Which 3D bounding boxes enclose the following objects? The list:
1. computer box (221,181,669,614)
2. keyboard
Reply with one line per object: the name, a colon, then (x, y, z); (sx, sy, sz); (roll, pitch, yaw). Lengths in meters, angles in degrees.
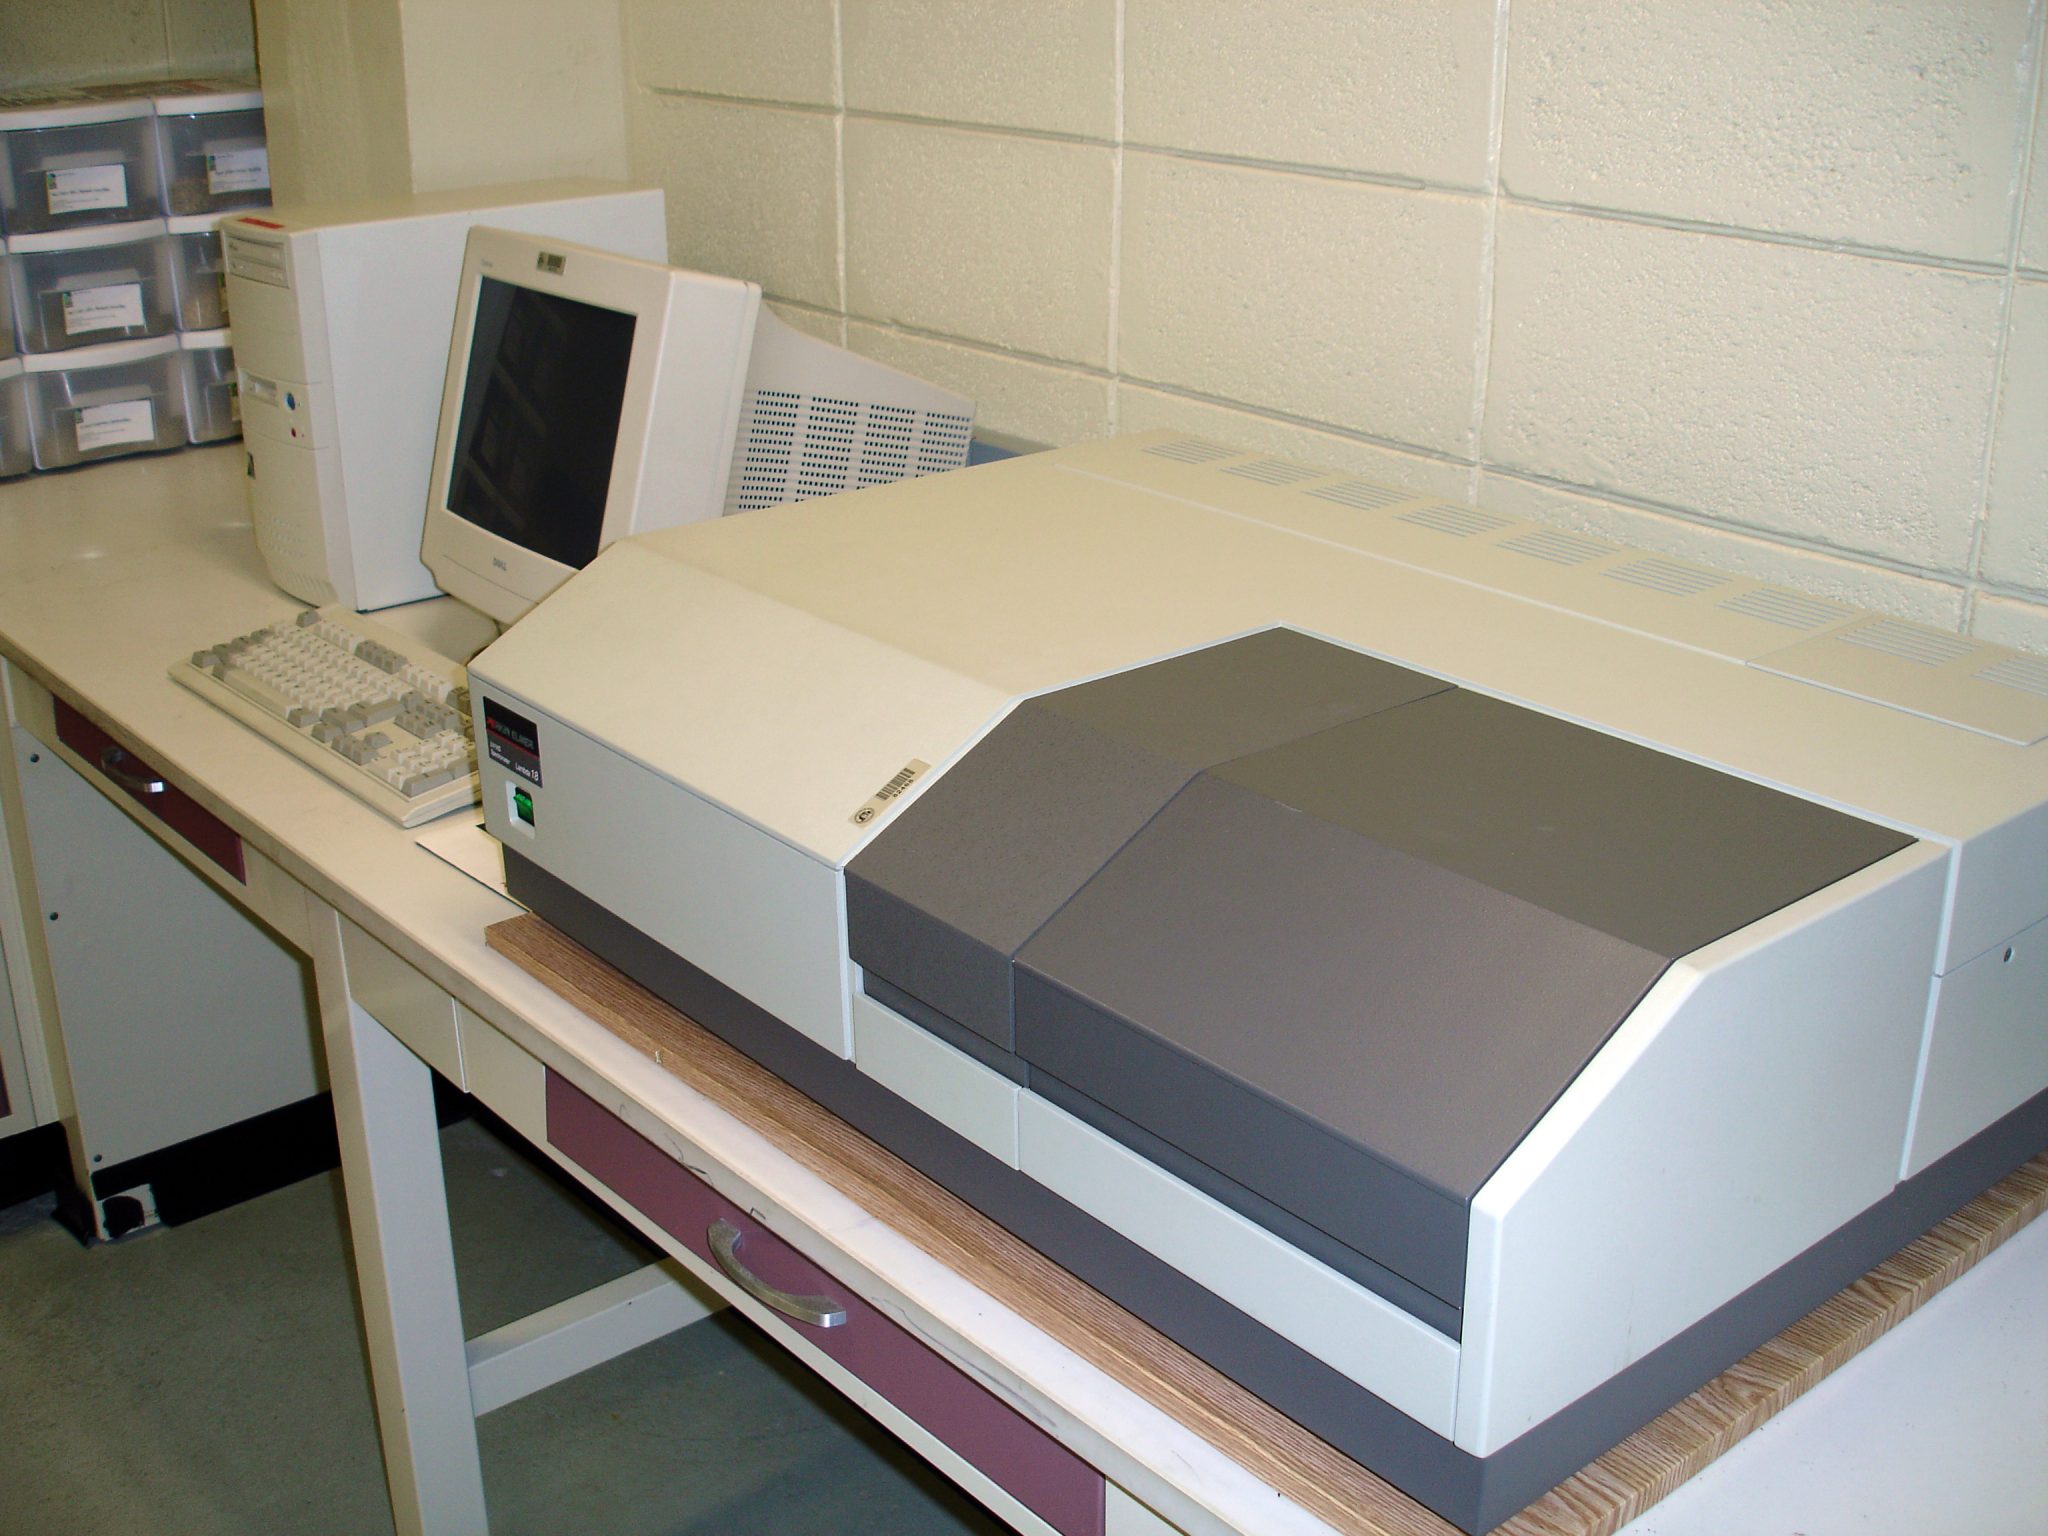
computer box: (-0.820, -0.525, 2.199); (0.278, 0.480, 0.506); (24, 31, 39)
keyboard: (-0.785, -0.083, 1.800); (0.215, 0.071, 0.483); (-28, 44, -37)
